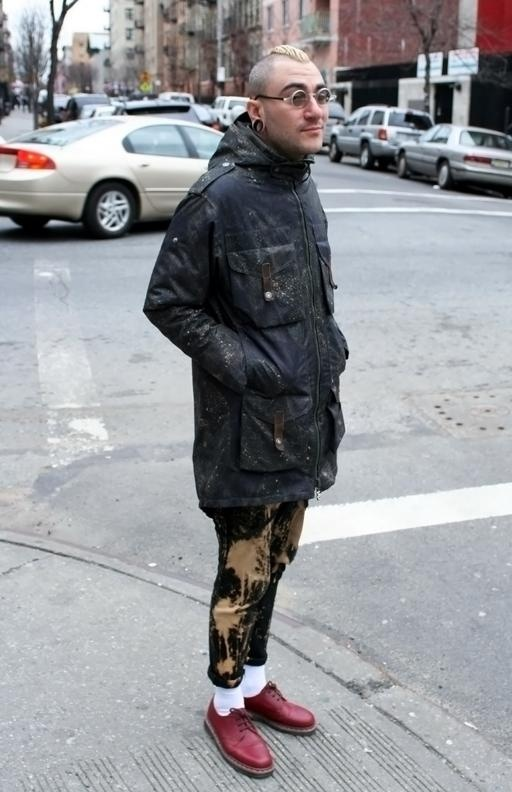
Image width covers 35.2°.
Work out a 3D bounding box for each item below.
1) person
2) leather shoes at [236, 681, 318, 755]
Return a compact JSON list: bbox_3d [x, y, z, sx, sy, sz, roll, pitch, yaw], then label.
[{"bbox_3d":[-0.005,0.030,2.066,0.484,1.791,0.487,9,13,20],"label":"person"},{"bbox_3d":[0.069,0.871,2.202,0.228,0.097,0.096,4,8,30],"label":"leather shoes"}]
